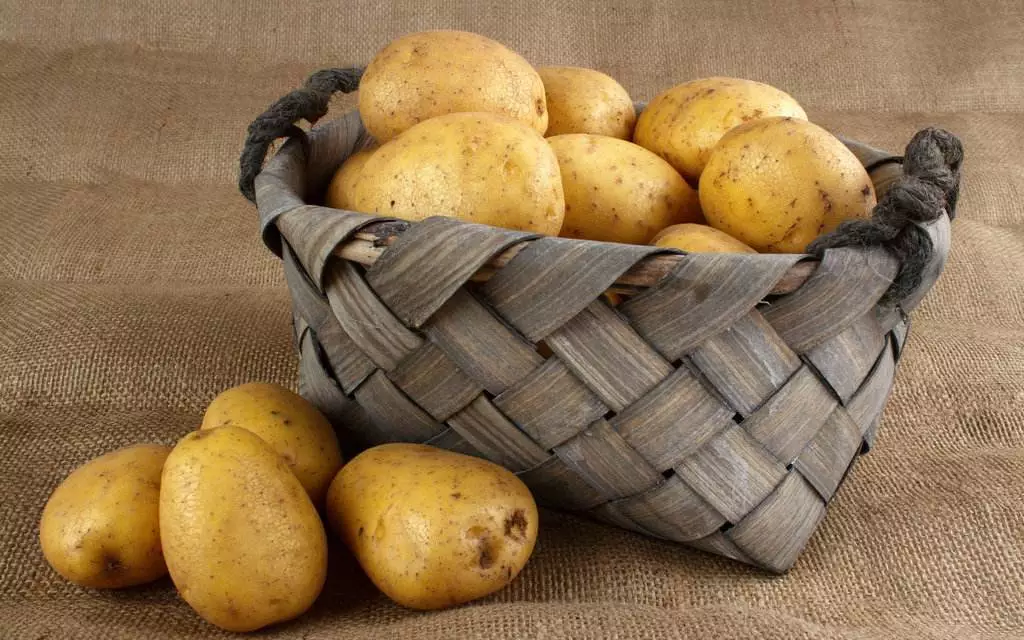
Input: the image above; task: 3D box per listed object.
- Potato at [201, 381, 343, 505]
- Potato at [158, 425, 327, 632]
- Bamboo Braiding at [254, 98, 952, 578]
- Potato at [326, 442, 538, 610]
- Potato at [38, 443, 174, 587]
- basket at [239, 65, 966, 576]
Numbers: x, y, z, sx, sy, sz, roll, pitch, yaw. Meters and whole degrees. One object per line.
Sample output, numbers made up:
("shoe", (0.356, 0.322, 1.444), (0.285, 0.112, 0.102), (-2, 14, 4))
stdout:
("Potato", (-0.296, 0.178, 1.343), (0.114, 0.192, 0.147), (33, 48, 0))
("Potato", (-0.318, 0.235, 1.264), (0.185, 0.149, 0.217), (-9, 84, -32))
("Bamboo Braiding", (0.055, 0.084, 1.526), (0.925, 0.750, 0.379), (-2, 88, 2))
("Potato", (-0.086, 0.228, 1.203), (0.224, 0.112, 0.166), (12, 29, 31))
("Potato", (-0.461, 0.224, 1.280), (0.171, 0.109, 0.194), (-5, 32, -4))
("basket", (0.120, -0.045, 1.488), (0.924, 0.459, 0.695), (12, 26, 31))
